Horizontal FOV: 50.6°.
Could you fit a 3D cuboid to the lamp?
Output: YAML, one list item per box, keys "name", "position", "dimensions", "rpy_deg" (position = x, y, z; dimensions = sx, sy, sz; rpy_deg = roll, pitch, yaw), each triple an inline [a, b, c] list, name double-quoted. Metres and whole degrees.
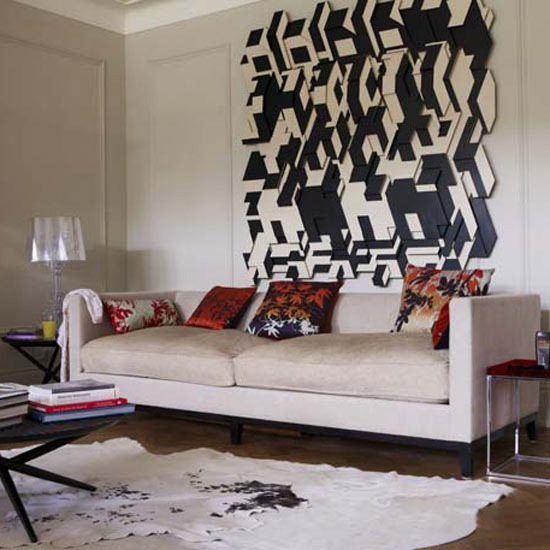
- name: "lamp"
  position: [-1.540, -0.057, 4.066]
  dimensions: [0.362, 0.803, 0.645]
  rpy_deg: [1, -4, -20]

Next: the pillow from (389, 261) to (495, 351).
- name: "pillow"
  position: [0.774, 0.153, 2.689]
  dimensions: [0.151, 0.285, 0.397]
  rpy_deg: [4, -3, -32]

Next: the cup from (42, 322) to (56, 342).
- name: "cup"
  position: [-1.440, 0.350, 3.702]
  dimensions: [0.081, 0.125, 0.096]
  rpy_deg: [1, -4, -21]
